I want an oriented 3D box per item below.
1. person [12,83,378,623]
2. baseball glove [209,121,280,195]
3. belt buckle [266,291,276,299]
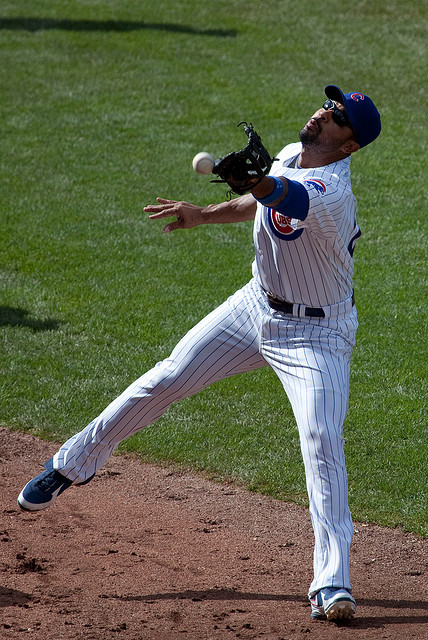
[{"bbox_3d":[0.226,0.074,4.499,1.145,1.963,0.913,9,20,35],"label":"person"},{"bbox_3d":[0.109,-0.579,4.150,0.212,0.102,0.265,0,-10,17],"label":"baseball glove"},{"bbox_3d":[0.222,-0.100,4.429,0.009,0.014,0.046,23,12,-35],"label":"belt buckle"}]
